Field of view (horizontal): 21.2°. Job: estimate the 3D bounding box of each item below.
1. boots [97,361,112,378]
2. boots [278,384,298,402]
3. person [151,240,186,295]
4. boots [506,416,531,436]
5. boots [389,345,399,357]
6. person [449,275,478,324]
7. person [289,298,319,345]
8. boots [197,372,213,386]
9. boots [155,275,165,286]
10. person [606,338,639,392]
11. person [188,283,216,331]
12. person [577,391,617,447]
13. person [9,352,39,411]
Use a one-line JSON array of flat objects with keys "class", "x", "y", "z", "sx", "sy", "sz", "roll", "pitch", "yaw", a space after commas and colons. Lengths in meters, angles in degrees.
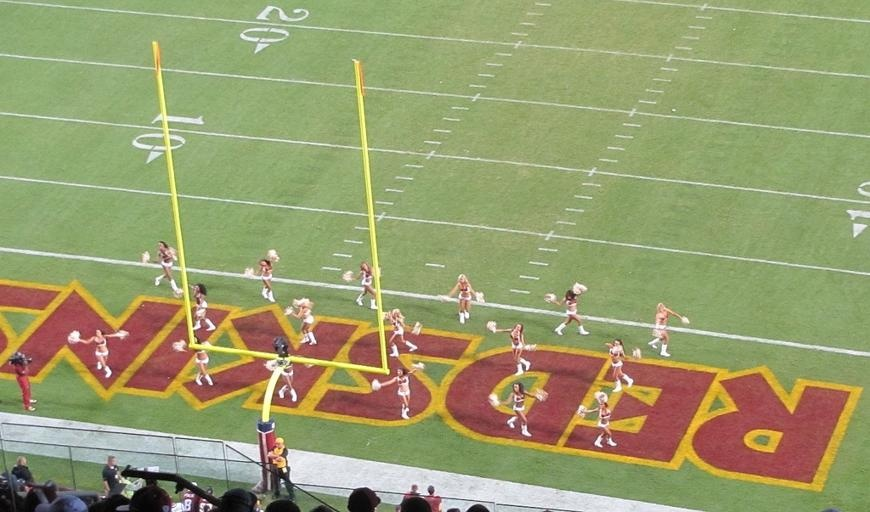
[{"class": "boots", "x": -9.090, "y": 3.004, "z": 63.776, "sx": 0.528, "sy": 0.221, "sz": 0.347, "roll": 39, "pitch": -1, "yaw": -3}, {"class": "boots", "x": -4.059, "y": 3.614, "z": 63.151, "sx": 0.815, "sy": 0.250, "sz": 0.256, "roll": 17, "pitch": 28, "yaw": 28}, {"class": "person", "x": -7.563, "y": 0.316, "z": 65.916, "sx": 0.901, "sy": 1.221, "sz": 0.962, "roll": 9, "pitch": -4, "yaw": -6}, {"class": "boots", "x": 2.200, "y": 4.397, "z": 62.314, "sx": 0.312, "sy": 0.323, "sz": 0.917, "roll": -37, "pitch": 42, "yaw": -29}, {"class": "boots", "x": -1.181, "y": 2.507, "z": 64.079, "sx": 0.296, "sy": 0.260, "sz": 0.141, "roll": 6, "pitch": -4, "yaw": 8}, {"class": "person", "x": 0.671, "y": 1.127, "z": 65.022, "sx": 0.776, "sy": 0.991, "sz": 1.422, "roll": 8, "pitch": -3, "yaw": 0}, {"class": "person", "x": -3.709, "y": 1.789, "z": 64.495, "sx": 1.430, "sy": 0.519, "sz": 1.452, "roll": 2, "pitch": -34, "yaw": -2}, {"class": "boots", "x": -6.364, "y": 3.248, "z": 63.413, "sx": 0.532, "sy": 0.142, "sz": 0.260, "roll": 19, "pitch": 44, "yaw": 25}, {"class": "boots", "x": -7.885, "y": 0.632, "z": 66.019, "sx": 0.131, "sy": 0.289, "sz": 0.164, "roll": 36, "pitch": -45, "yaw": -28}, {"class": "person", "x": 4.966, "y": 2.882, "z": 63.063, "sx": 0.935, "sy": 1.020, "sz": 1.399, "roll": 8, "pitch": -3, "yaw": 4}, {"class": "person", "x": -6.481, "y": 1.356, "z": 64.781, "sx": 0.854, "sy": 1.041, "sz": 1.264, "roll": 9, "pitch": -3, "yaw": -5}, {"class": "person", "x": 4.281, "y": 4.230, "z": 61.977, "sx": 1.115, "sy": 1.041, "sz": 1.260, "roll": 8, "pitch": -3, "yaw": -9}, {"class": "person", "x": -11.177, "y": 3.283, "z": 62.938, "sx": 0.913, "sy": 1.306, "sz": 1.439, "roll": 9, "pitch": -3, "yaw": -7}]
